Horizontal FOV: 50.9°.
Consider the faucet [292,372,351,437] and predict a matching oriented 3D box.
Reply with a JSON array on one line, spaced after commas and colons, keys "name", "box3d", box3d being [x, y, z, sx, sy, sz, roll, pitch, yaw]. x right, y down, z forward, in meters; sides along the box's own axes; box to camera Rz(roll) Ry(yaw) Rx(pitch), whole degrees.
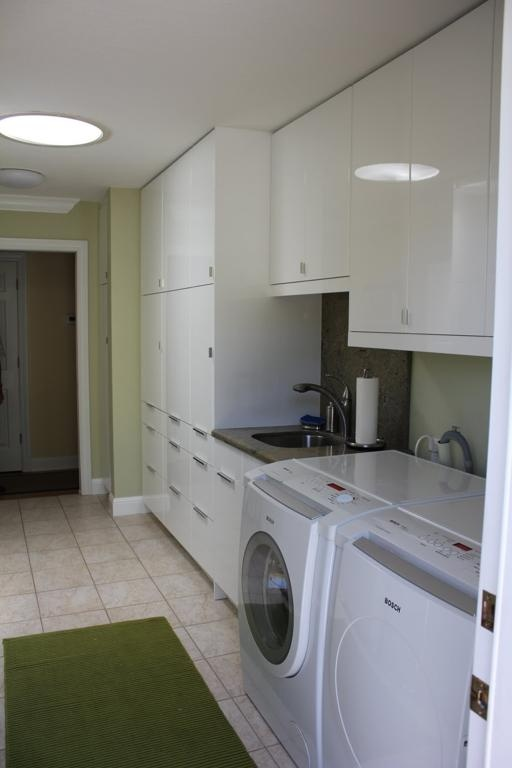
[{"name": "faucet", "box3d": [0.362, 0.159, 2.826, 0.250, 0.399, 0.093, 0, 33, 14]}]

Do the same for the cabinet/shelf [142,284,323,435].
[{"name": "cabinet/shelf", "box3d": [-0.097, -0.087, 3.331, 1.195, 0.913, 0.687, 8, -6, -10]}]

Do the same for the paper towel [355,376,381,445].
[{"name": "paper towel", "box3d": [0.476, 0.120, 2.311, 0.093, 0.287, 0.075, 0, 2, 1]}]

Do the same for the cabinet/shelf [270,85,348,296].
[{"name": "cabinet/shelf", "box3d": [0.292, -0.792, 2.580, 0.197, 0.597, 0.560, -10, 15, -40]}]
